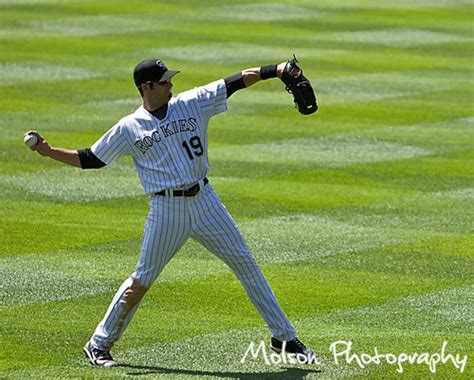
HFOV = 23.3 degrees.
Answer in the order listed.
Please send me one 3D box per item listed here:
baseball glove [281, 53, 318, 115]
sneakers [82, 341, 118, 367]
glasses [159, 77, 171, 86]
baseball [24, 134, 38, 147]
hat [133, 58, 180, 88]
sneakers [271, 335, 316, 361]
[{"bbox_3d":[0.558,-0.994,11.078,0.259,0.545,0.348,-24,14,25],"label":"baseball glove"},{"bbox_3d":[-1.370,1.567,10.964,0.424,0.162,0.140,25,31,25],"label":"sneakers"},{"bbox_3d":[-0.726,-1.007,10.760,0.081,0.020,0.078,-25,-1,43],"label":"glasses"},{"bbox_3d":[-1.980,-0.462,10.813,0.101,0.109,0.114,13,-7,23],"label":"baseball"},{"bbox_3d":[-0.821,-1.105,10.836,0.411,0.179,0.249,-15,10,11],"label":"hat"},{"bbox_3d":[0.500,1.517,10.932,0.503,0.176,0.168,11,26,9],"label":"sneakers"}]
